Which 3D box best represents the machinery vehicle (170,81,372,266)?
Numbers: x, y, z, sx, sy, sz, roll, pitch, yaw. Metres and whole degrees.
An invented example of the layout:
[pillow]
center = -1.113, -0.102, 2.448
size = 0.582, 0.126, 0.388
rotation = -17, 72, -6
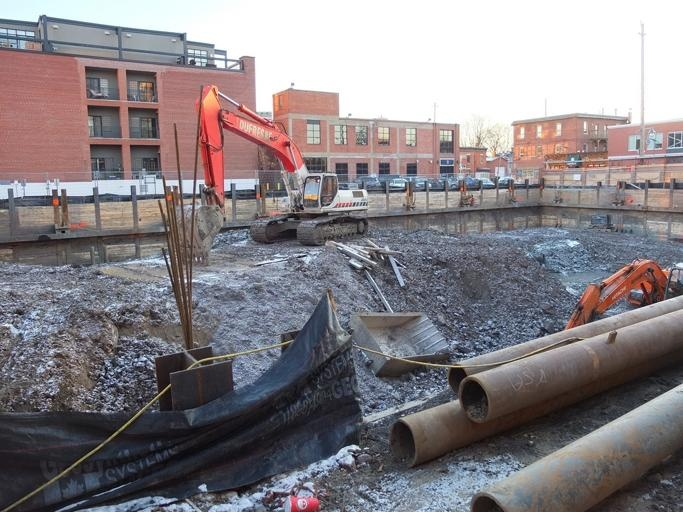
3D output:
[machinery vehicle]
center = -2.342, -2.826, 17.508
size = 2.860, 5.091, 8.050
rotation = 8, 12, 33
